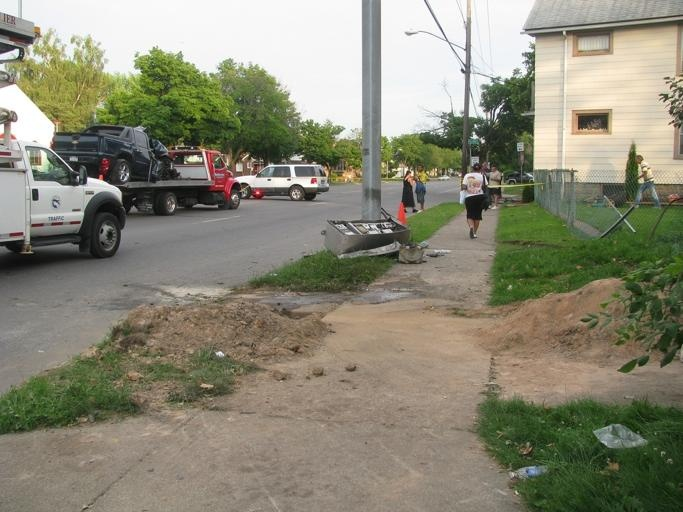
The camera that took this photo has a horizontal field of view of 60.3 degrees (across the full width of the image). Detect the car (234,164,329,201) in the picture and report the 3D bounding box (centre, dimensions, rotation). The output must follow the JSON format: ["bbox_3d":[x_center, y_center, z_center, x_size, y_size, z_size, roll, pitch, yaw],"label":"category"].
[{"bbox_3d":[-3.344,-4.526,36.033,4.637,1.988,2.498,8,10,20],"label":"car"}]
